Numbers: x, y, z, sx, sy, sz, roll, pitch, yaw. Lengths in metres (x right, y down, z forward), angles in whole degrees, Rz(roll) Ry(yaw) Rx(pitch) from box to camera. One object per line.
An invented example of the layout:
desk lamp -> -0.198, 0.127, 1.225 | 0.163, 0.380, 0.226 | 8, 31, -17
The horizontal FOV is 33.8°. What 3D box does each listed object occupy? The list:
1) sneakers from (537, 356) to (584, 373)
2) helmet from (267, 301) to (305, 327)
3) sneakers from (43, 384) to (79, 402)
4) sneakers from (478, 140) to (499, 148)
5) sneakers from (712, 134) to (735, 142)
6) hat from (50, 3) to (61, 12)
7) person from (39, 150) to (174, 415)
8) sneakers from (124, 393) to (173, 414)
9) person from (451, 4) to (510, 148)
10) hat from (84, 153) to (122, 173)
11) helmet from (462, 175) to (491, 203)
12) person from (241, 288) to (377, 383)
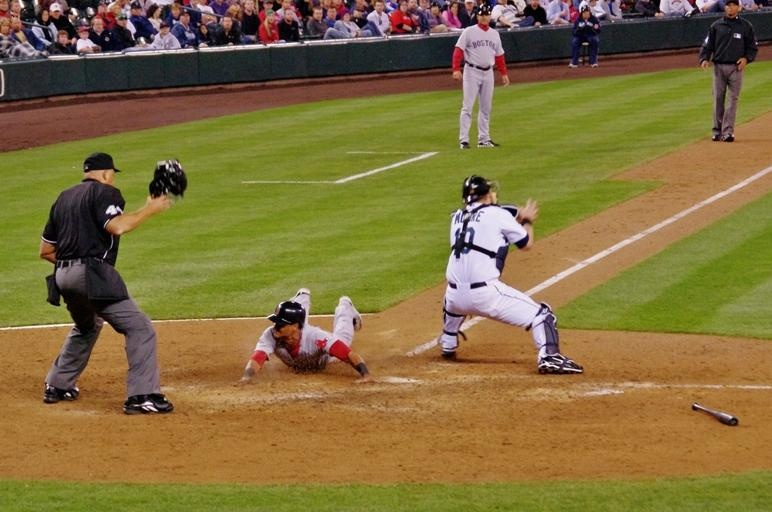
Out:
sneakers -> 2.158, 1.360, 15.968 | 0.618, 0.224, 0.212 | 1, 7, 1
helmet -> -1.249, 0.717, 15.976 | 0.456, 0.186, 0.315 | 3, 6, -11
sneakers -> -3.912, 1.664, 15.472 | 0.444, 0.170, 0.178 | -5, 11, -34
sneakers -> 2.040, -2.261, 25.415 | 0.473, 0.180, 0.141 | -2, 17, -3
sneakers -> 6.617, -2.333, 24.881 | 0.166, 0.147, 0.424 | -3, 2, -38
hat -> -7.743, -5.887, 29.961 | 0.224, 0.136, 0.306 | -2, 9, -4
person -> -3.353, 0.315, 15.140 | 1.648, 2.980, 0.989 | 5, 19, 18
sneakers -> -2.804, 1.744, 15.065 | 0.647, 0.231, 0.220 | -2, 5, -9
person -> 1.886, -3.551, 25.065 | 1.036, 2.827, 1.117 | 0, 18, 4
hat -> -3.363, -1.126, 15.280 | 0.433, 0.178, 0.303 | -2, 6, -43
helmet -> 1.166, -0.893, 16.547 | 0.372, 0.253, 0.384 | -15, 3, 3
person -> -0.794, 0.982, 16.341 | 1.691, 0.751, 2.047 | 4, 15, 16
